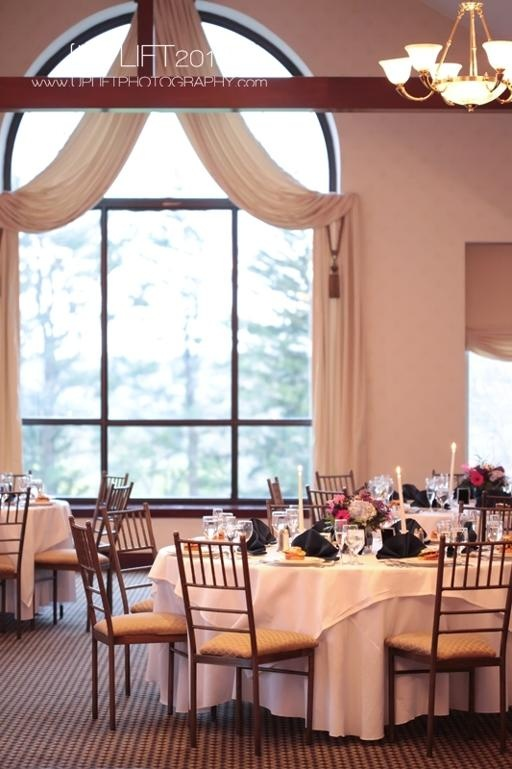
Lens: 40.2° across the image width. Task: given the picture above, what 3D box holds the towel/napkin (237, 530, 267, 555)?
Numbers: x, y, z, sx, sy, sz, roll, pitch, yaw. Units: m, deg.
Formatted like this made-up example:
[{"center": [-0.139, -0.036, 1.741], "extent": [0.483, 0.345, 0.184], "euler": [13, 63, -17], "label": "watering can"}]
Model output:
[{"center": [-0.021, 0.678, 3.056], "extent": [0.074, 0.089, 0.228], "euler": [-6, -28, 5], "label": "towel/napkin"}]

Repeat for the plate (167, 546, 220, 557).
[{"center": [-0.248, 0.718, 3.010], "extent": [0.143, 0.015, 0.147], "euler": [0, -5, 35], "label": "plate"}]

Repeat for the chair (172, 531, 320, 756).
[{"center": [-0.088, 0.989, 2.766], "extent": [0.551, 0.826, 0.674], "euler": [2, -7, -28], "label": "chair"}]

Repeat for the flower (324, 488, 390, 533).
[{"center": [0.481, 0.580, 3.266], "extent": [0.184, 0.142, 0.196], "euler": [3, -4, 1], "label": "flower"}]

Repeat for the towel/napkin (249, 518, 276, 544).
[{"center": [0.036, 0.713, 3.401], "extent": [0.111, 0.148, 0.055], "euler": [-10, -13, -22], "label": "towel/napkin"}]

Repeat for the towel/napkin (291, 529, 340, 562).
[{"center": [0.254, 0.665, 2.972], "extent": [0.118, 0.063, 0.149], "euler": [5, 5, -6], "label": "towel/napkin"}]

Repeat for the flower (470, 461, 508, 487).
[{"center": [1.650, 0.634, 4.966], "extent": [0.180, 0.087, 0.179], "euler": [-1, 5, -28], "label": "flower"}]
